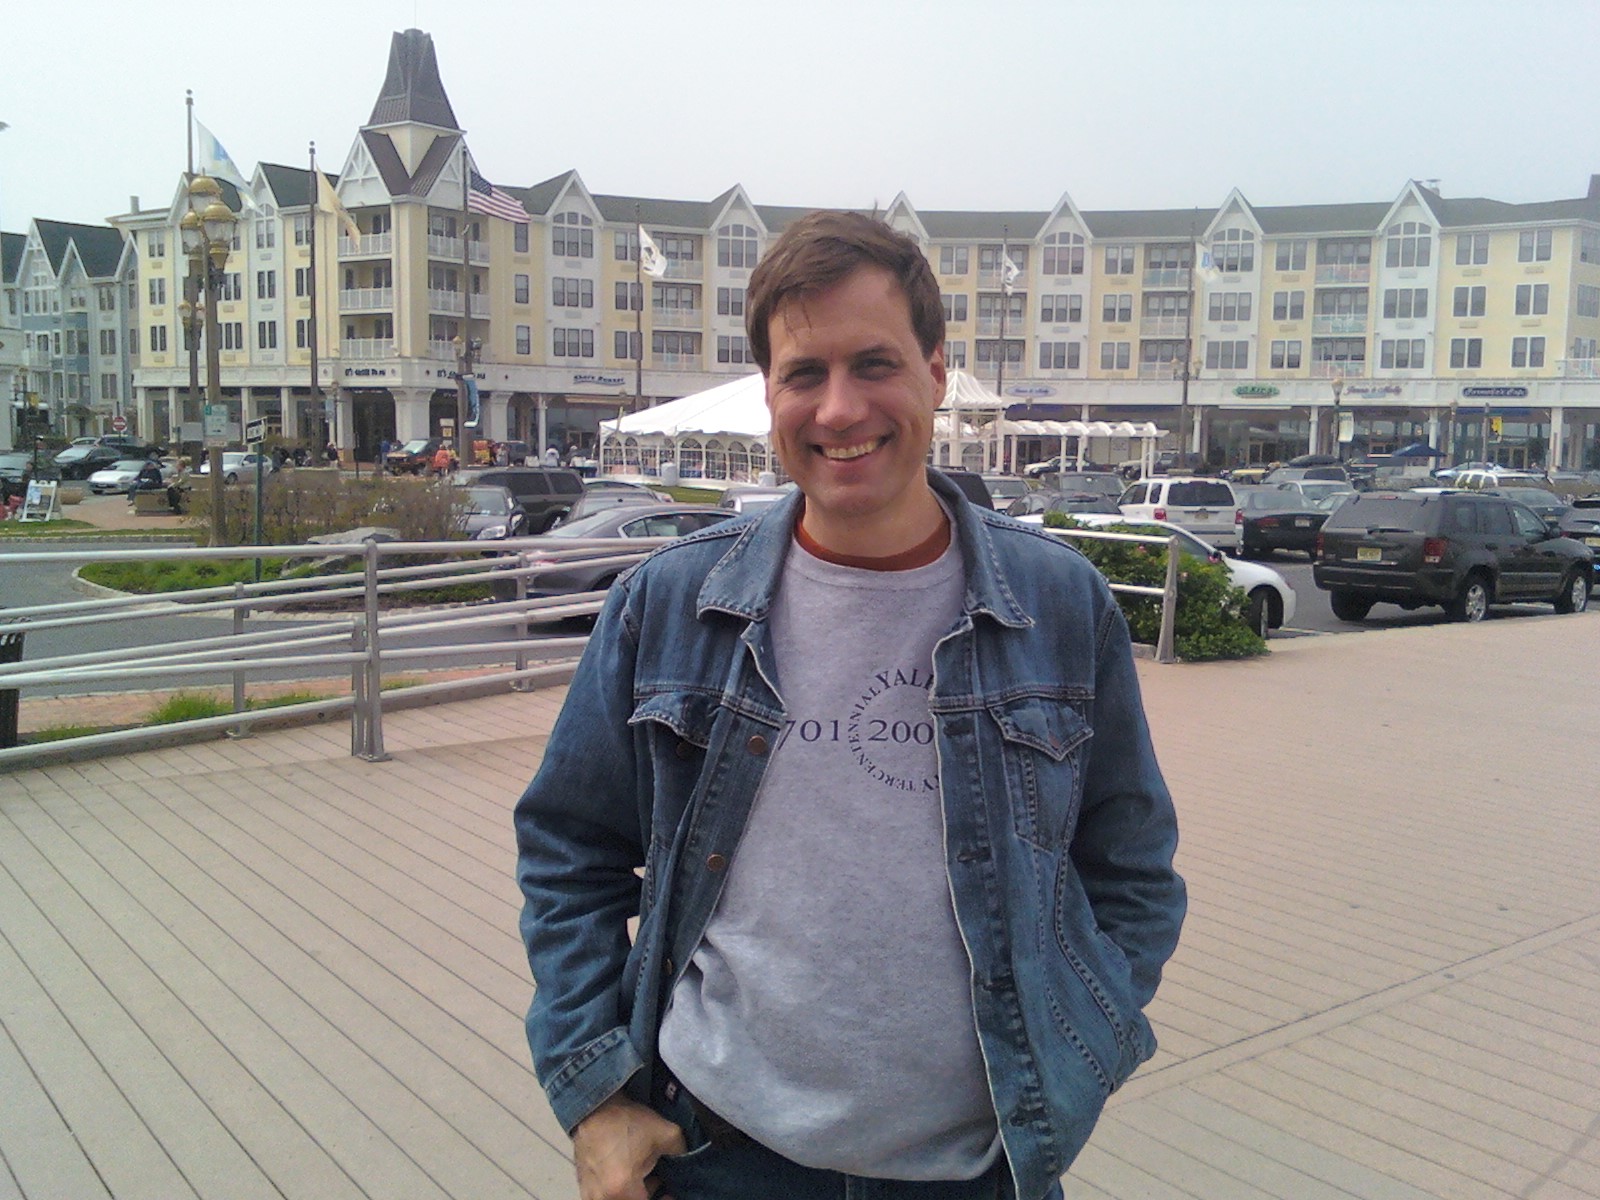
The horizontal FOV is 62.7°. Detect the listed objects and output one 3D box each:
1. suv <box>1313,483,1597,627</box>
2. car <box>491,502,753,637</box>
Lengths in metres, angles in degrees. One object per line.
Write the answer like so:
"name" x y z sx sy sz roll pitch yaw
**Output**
"suv" 9.298 -0.814 18.752 3.538 1.561 1.834 -10 10 -33
"car" -2.147 -0.288 17.175 3.507 1.334 1.646 -7 8 -24
